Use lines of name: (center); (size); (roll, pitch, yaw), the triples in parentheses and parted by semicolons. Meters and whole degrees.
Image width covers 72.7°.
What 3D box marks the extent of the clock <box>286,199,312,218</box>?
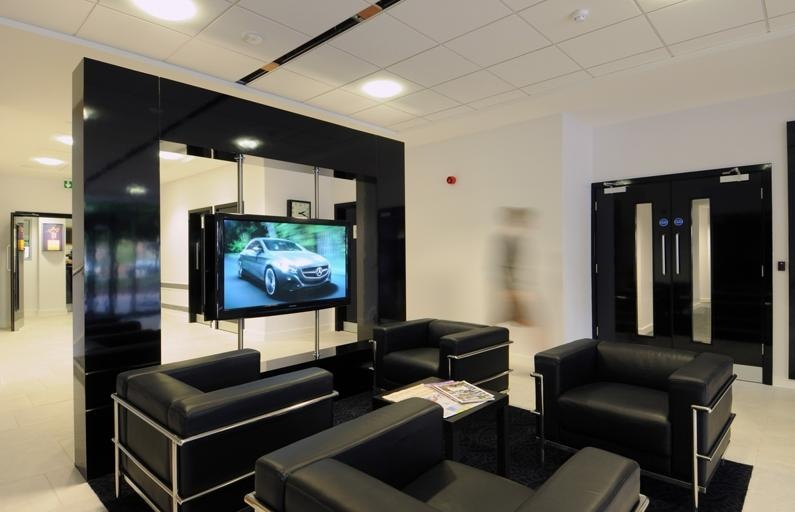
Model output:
clock: (-1.799, -0.839, 9.573); (0.058, 0.371, 0.567); (-3, -3, 39)

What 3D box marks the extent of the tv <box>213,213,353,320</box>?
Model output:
tv: (-1.453, 0.113, 6.643); (1.653, 1.006, 0.166); (0, -2, -35)

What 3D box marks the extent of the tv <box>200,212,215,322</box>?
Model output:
tv: (-2.185, 0.131, 6.236); (0.169, 1.231, 0.164); (-2, 2, -22)
